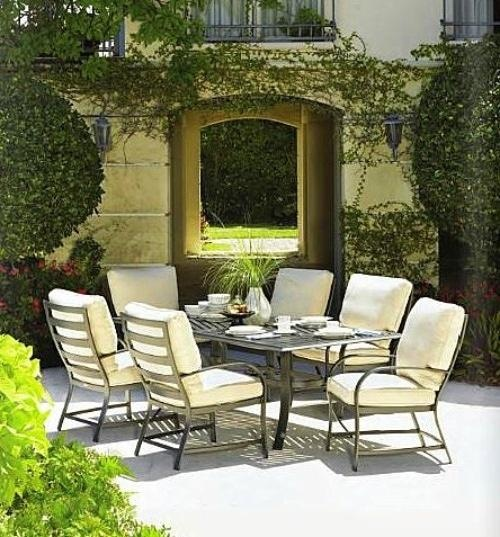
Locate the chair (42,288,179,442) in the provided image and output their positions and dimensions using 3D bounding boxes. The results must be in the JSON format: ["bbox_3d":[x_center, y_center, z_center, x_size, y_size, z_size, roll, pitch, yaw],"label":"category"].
[{"bbox_3d":[-0.976,0.644,4.880,0.716,0.969,0.589,-4,4,-44],"label":"chair"}]

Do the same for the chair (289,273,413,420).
[{"bbox_3d":[0.790,0.522,5.471,0.864,0.966,0.937,1,1,32],"label":"chair"}]

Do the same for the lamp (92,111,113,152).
[{"bbox_3d":[-1.592,-1.468,7.682,0.199,0.408,0.354,-2,4,-13],"label":"lamp"}]

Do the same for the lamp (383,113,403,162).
[{"bbox_3d":[1.559,-1.422,7.749,0.215,0.461,0.416,0,4,11],"label":"lamp"}]

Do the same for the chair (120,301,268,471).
[{"bbox_3d":[-0.305,0.655,4.499,0.991,1.285,0.821,-2,3,-33],"label":"chair"}]

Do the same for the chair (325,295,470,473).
[{"bbox_3d":[0.863,0.665,4.391,0.803,0.949,0.848,-1,4,-9],"label":"chair"}]

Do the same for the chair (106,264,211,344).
[{"bbox_3d":[-0.978,0.291,6.627,0.761,0.998,0.766,-2,1,-31],"label":"chair"}]
